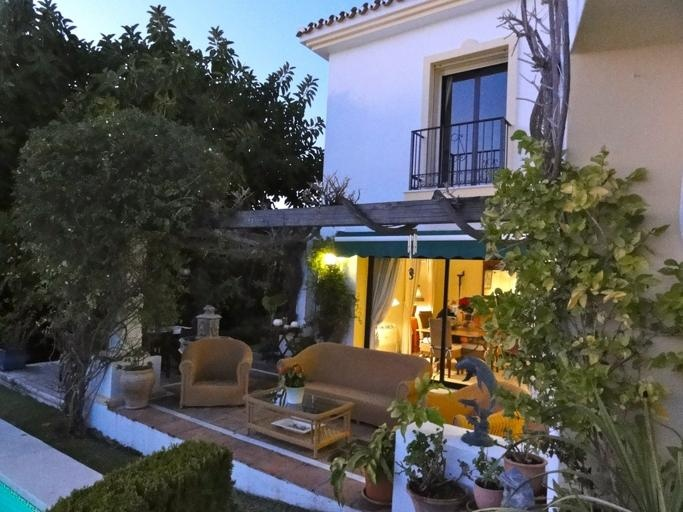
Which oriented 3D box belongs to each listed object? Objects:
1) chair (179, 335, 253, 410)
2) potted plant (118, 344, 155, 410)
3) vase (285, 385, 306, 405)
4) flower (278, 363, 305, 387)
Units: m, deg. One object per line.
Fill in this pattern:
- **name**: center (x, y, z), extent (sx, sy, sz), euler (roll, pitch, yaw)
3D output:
- **chair**: center (-2.347, 2.168, 9.860), extent (1.251, 1.352, 1.186), euler (1, -10, -6)
- **potted plant**: center (-3.642, 2.134, 9.258), extent (0.536, 1.048, 0.570), euler (0, -1, -24)
- **vase**: center (-0.717, 2.151, 8.112), extent (0.238, 0.193, 0.250), euler (1, -1, -16)
- **flower**: center (-0.777, 1.905, 8.303), extent (0.315, 0.374, 0.303), euler (2, -9, -6)
